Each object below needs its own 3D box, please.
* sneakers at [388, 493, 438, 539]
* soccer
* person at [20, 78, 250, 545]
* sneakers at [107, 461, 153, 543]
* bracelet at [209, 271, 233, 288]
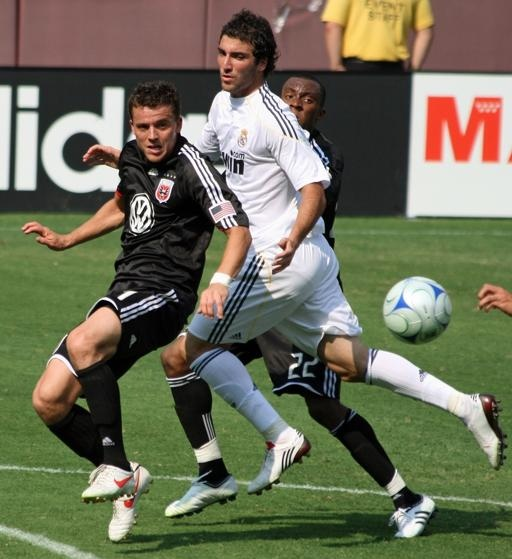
[{"bbox_3d":[0.599,0.908,3.385,0.169,0.119,0.135,1,9,-8],"label":"sneakers"},{"bbox_3d":[0.689,0.133,3.915,0.321,0.272,0.284,-3,12,-4],"label":"soccer"},{"bbox_3d":[-0.484,0.070,3.522,0.798,1.691,1.044,0,10,-14],"label":"person"},{"bbox_3d":[-0.467,0.827,3.288,0.145,0.304,0.105,28,-21,-33],"label":"sneakers"},{"bbox_3d":[-0.122,-0.001,3.166,0.070,0.044,0.050,1,9,-7],"label":"bracelet"}]
